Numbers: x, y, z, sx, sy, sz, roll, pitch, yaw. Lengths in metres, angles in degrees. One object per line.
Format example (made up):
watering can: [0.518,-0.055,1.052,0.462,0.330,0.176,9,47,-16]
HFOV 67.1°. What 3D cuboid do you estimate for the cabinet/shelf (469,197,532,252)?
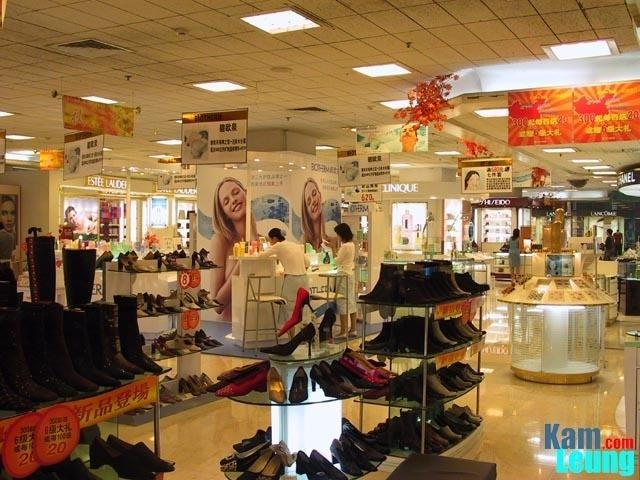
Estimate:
cabinet/shelf: [7.396,-0.652,20.142,2.539,2.248,0.967,0,-5,-1]

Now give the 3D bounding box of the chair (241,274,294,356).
chair: [-1.177,1.353,9.365,0.859,1.369,0.790,5,-3,3]

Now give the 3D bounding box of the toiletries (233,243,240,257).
toiletries: [-1.657,0.197,9.712,0.117,0.205,0.230,-1,0,2]

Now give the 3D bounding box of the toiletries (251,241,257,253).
toiletries: [-1.377,0.158,10.169,0.131,0.223,0.447,-1,0,-9]

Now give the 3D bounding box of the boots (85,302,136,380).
boots: [-1.219,0.628,2.918,0.195,0.429,0.443,-2,3,-43]

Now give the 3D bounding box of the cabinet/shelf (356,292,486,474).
cabinet/shelf: [0.876,1.229,4.758,1.189,1.422,2.105,-2,-4,26]

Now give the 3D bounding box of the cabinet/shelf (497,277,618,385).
cabinet/shelf: [3.682,1.387,7.627,1.538,1.293,1.569,-2,-4,35]

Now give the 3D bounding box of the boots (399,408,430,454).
boots: [0.832,1.655,4.117,0.180,0.332,0.354,4,-13,-32]

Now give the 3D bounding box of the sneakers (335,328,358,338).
sneakers: [0.579,1.890,9.901,0.597,0.239,0.210,6,-8,-31]

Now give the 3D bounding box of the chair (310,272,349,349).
chair: [0.114,1.252,9.503,0.701,1.111,0.624,-3,-3,-2]

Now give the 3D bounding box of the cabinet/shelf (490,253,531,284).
cabinet/shelf: [6.575,1.068,16.352,0.856,1.056,1.143,13,-5,-15]

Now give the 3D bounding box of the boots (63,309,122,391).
boots: [-1.352,0.674,3.034,0.210,0.431,0.617,2,-19,-10]

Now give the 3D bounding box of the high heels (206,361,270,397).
high heels: [-0.575,1.006,3.470,0.430,0.174,0.229,-8,31,-7]

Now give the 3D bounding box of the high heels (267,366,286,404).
high heels: [-0.309,1.056,3.437,0.146,0.080,0.373,6,3,-1]

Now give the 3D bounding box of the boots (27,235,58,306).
boots: [-2.628,0.273,4.560,0.222,0.426,0.401,-1,0,-31]

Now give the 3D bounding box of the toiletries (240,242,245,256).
toiletries: [-1.591,0.174,9.842,0.071,0.210,0.257,-1,0,-7]

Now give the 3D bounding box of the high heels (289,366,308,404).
high heels: [-0.147,1.020,3.385,0.135,0.206,0.219,-1,0,-2]
